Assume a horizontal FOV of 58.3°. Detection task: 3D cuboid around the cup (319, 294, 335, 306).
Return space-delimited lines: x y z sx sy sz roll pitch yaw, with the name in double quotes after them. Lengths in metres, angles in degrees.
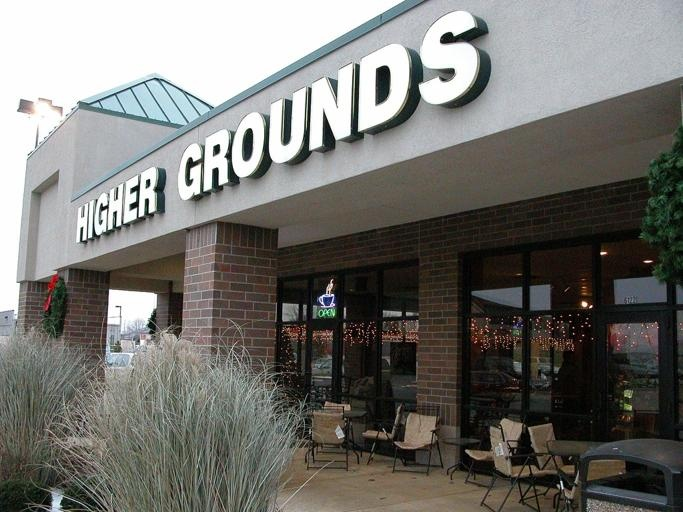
-0.276 0.917 12.461 0.241 0.206 0.212 -6 -7 18 "cup"
